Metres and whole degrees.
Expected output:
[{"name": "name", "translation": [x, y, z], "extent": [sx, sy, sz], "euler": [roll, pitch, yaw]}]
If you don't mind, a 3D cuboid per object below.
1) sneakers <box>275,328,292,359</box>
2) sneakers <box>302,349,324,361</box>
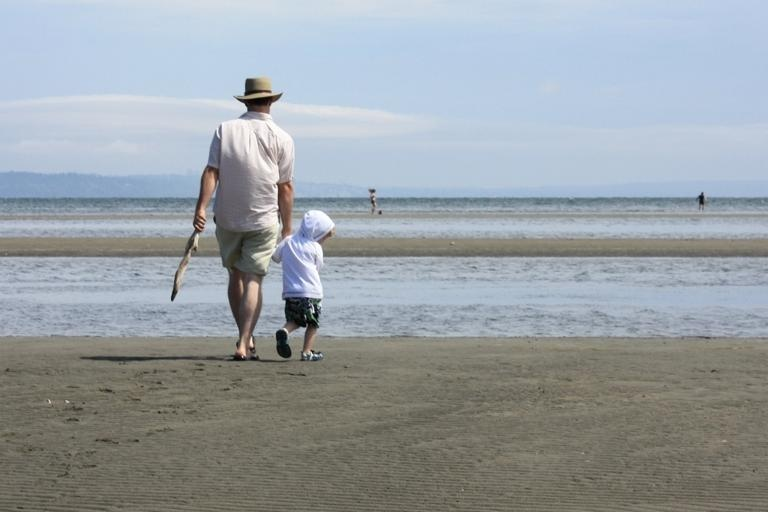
[{"name": "sneakers", "translation": [-1.419, 1.230, 23.098], "extent": [0.246, 0.382, 0.193], "euler": [-10, 2, 3]}, {"name": "sneakers", "translation": [-1.028, 1.409, 23.208], "extent": [0.376, 0.131, 0.117], "euler": [-1, 6, -4]}]
